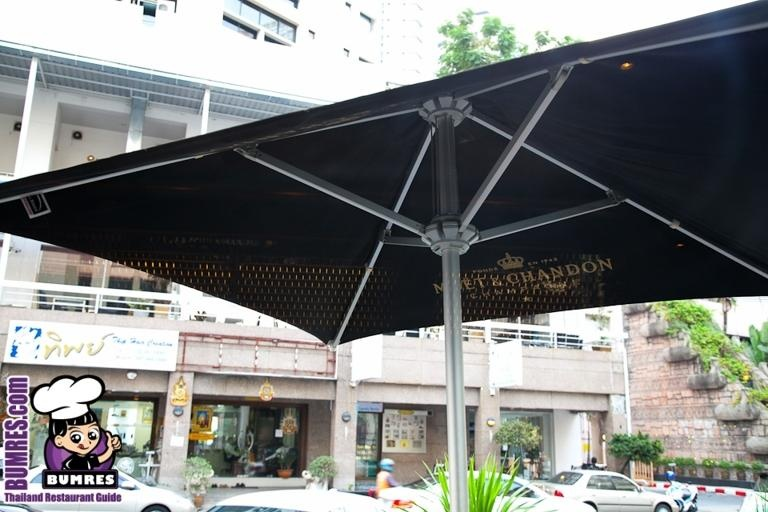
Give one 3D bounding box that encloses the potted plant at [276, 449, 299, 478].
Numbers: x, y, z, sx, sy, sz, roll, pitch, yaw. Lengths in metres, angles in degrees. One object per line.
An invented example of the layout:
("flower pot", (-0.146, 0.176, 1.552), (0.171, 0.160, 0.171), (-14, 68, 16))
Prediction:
("potted plant", (-3.272, 7.142, 21.530), (0.875, 0.789, 0.818), (6, -31, -9))
